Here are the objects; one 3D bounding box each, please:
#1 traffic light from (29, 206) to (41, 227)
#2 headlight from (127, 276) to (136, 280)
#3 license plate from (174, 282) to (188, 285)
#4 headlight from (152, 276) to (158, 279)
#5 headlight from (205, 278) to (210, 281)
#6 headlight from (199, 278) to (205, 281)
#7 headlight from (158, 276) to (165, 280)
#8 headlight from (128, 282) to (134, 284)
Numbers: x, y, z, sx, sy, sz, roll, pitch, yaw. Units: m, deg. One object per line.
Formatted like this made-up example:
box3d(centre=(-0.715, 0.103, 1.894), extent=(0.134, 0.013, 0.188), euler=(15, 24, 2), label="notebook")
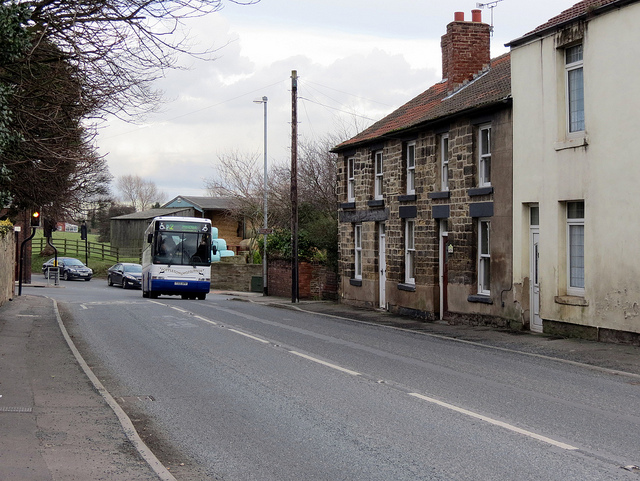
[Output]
box3d(centre=(-11.333, -0.925, 25.897), extent=(0.373, 0.686, 0.885), euler=(2, -3, -21), label="traffic light")
box3d(centre=(-12.797, 2.524, 44.029), extent=(0.584, 0.170, 0.204), euler=(-1, -3, 29), label="headlight")
box3d(centre=(-6.415, 1.991, 29.860), extent=(0.500, 0.086, 0.129), euler=(4, 4, -2), label="license plate")
box3d(centre=(-7.544, 1.694, 29.642), extent=(0.153, 0.122, 0.089), euler=(2, 4, 6), label="headlight")
box3d(centre=(-5.248, 1.842, 30.236), extent=(0.114, 0.129, 0.092), euler=(0, -5, -6), label="headlight")
box3d(centre=(-5.520, 1.809, 30.116), extent=(0.202, 0.128, 0.147), euler=(-2, -2, -10), label="headlight")
box3d(centre=(-7.269, 1.718, 29.703), extent=(0.278, 0.143, 0.060), euler=(2, -3, -27), label="headlight")
box3d(centre=(-12.771, 2.879, 43.908), extent=(0.303, 0.129, 0.096), euler=(0, -2, 7), label="headlight")
